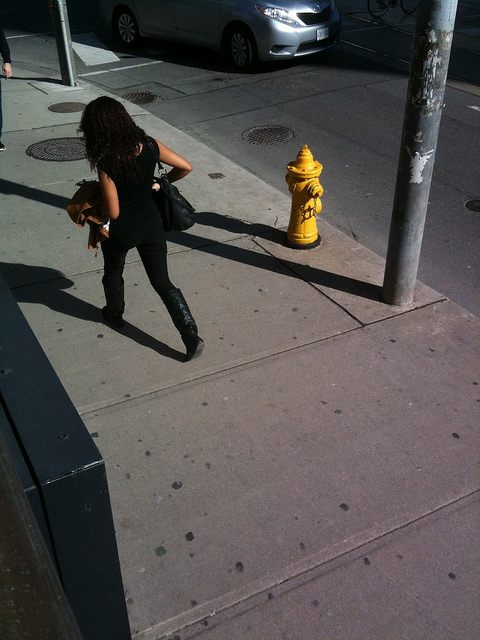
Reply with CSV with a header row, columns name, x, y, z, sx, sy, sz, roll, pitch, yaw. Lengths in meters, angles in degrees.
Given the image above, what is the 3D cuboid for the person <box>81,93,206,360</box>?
name,x,y,z,sx,sy,sz,roll,pitch,yaw
person,-0.709,-0.685,3.989,0.728,1.772,1.025,-5,27,-12

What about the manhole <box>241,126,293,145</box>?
name,x,y,z,sx,sy,sz,roll,pitch,yaw
manhole,0.415,-2.875,8.491,0.761,0.177,0.797,2,26,0

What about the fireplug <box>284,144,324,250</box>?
name,x,y,z,sx,sy,sz,roll,pitch,yaw
fireplug,0.624,-1.177,5.275,0.385,1.004,0.338,4,26,5

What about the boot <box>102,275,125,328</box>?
name,x,y,z,sx,sy,sz,roll,pitch,yaw
boot,-0.978,-0.134,4.208,0.161,0.402,0.318,-16,58,-23

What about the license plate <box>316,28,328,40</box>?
name,x,y,z,sx,sy,sz,roll,pitch,yaw
license plate,1.669,-5.843,11.151,0.066,0.213,0.389,19,31,32

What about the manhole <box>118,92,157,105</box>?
name,x,y,z,sx,sy,sz,roll,pitch,yaw
manhole,-1.825,-4.057,9.993,0.604,0.151,0.749,-14,30,-29

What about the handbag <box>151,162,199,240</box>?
name,x,y,z,sx,sy,sz,roll,pitch,yaw
handbag,-0.591,-0.922,4.065,0.277,0.595,0.458,-18,12,-37

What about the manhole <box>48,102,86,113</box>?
name,x,y,z,sx,sy,sz,roll,pitch,yaw
manhole,-2.900,-3.521,9.074,0.578,0.104,0.515,-1,26,-6
